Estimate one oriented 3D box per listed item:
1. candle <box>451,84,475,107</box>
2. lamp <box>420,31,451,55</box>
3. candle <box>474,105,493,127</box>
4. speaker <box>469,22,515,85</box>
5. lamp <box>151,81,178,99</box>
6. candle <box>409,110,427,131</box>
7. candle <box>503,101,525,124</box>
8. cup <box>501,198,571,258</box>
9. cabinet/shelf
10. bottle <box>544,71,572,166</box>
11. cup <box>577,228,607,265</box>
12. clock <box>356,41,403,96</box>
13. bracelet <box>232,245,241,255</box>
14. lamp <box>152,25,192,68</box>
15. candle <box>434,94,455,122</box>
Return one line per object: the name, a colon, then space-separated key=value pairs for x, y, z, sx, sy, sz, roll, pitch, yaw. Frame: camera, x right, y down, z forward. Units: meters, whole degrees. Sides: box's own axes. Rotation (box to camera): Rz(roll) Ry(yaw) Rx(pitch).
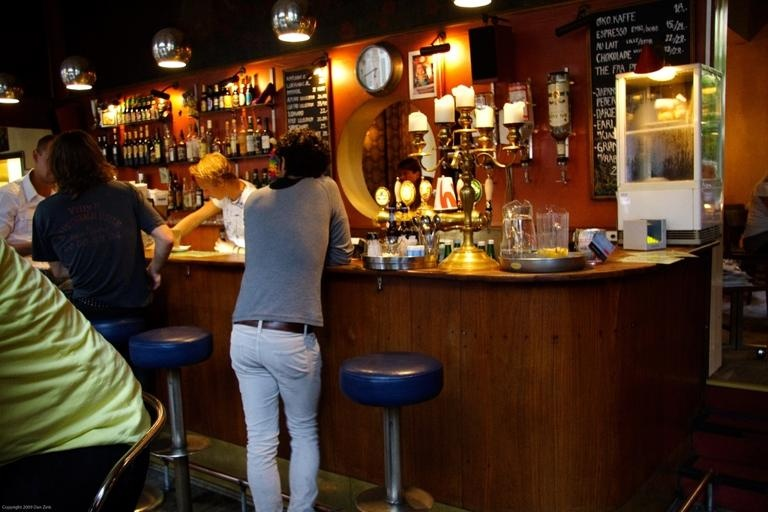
candle: x=0.463 y=-0.930 z=3.501 sx=0.106 sy=0.143 sz=0.125 roll=-1 pitch=10 yaw=17
lamp: x=0.457 y=-1.964 z=5.502 sx=0.294 sy=0.214 sz=0.247 roll=-3 pitch=10 yaw=6
candle: x=0.574 y=-0.802 z=3.471 sx=0.102 sy=0.119 sz=0.124 roll=-4 pitch=10 yaw=4
speaker: x=0.934 y=-1.731 z=5.150 sx=0.397 sy=0.456 sz=0.226 roll=-4 pitch=9 yaw=3
lamp: x=-2.656 y=-1.997 z=7.299 sx=0.190 sy=0.225 sz=0.351 roll=9 pitch=10 yaw=20
candle: x=0.194 y=-0.829 z=3.649 sx=0.131 sy=0.126 sz=0.130 roll=-1 pitch=-2 yaw=-2
candle: x=0.765 y=-0.845 z=3.546 sx=0.118 sy=0.135 sz=0.241 roll=-3 pitch=10 yaw=10
cup: x=0.894 y=-0.152 z=3.571 sx=0.427 sy=0.429 sz=0.249 roll=0 pitch=3 yaw=16
cabinet/shelf: x=2.106 y=-0.721 z=4.357 sx=0.864 sy=1.255 sz=0.564 roll=-3 pitch=9 yaw=6
bottle: x=1.472 y=-1.155 z=5.038 sx=0.192 sy=0.764 sz=0.193 roll=-4 pitch=9 yaw=1
cup: x=1.260 y=-0.053 z=3.667 sx=0.192 sy=0.233 sz=0.159 roll=-3 pitch=-10 yaw=-4
clock: x=-0.031 y=-1.806 z=5.763 sx=0.503 sy=0.509 sz=0.140 roll=7 pitch=7 yaw=35
bracelet: x=-1.131 y=-0.044 z=4.579 sx=0.047 sy=0.054 sz=0.156 roll=4 pitch=-7 yaw=-23
lamp: x=-1.843 y=-1.823 z=5.271 sx=0.341 sy=0.409 sz=0.342 roll=0 pitch=6 yaw=2
candle: x=0.355 y=-0.854 z=3.501 sx=0.106 sy=0.159 sz=0.045 roll=-8 pitch=10 yaw=-24
